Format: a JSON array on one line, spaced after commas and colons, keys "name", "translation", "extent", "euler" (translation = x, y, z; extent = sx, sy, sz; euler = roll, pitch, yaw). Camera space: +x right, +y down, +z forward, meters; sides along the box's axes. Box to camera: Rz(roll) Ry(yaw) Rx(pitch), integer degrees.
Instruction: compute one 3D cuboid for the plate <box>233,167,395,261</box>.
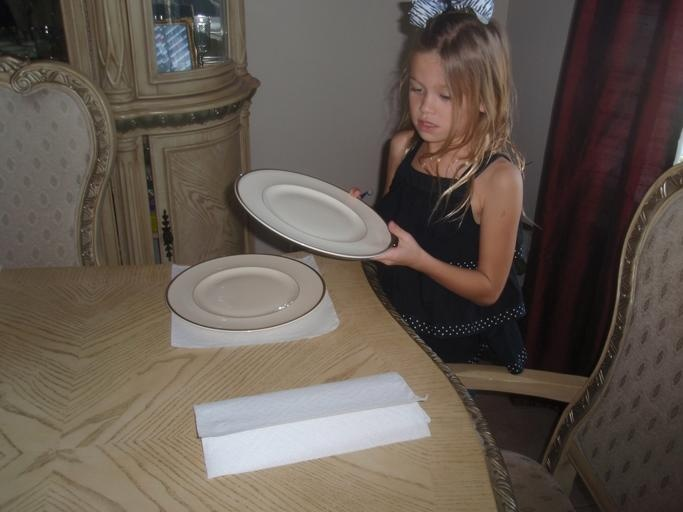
[{"name": "plate", "translation": [-0.087, -0.073, 1.121], "extent": [0.250, 0.029, 0.266], "euler": [17, 33, -34]}]
